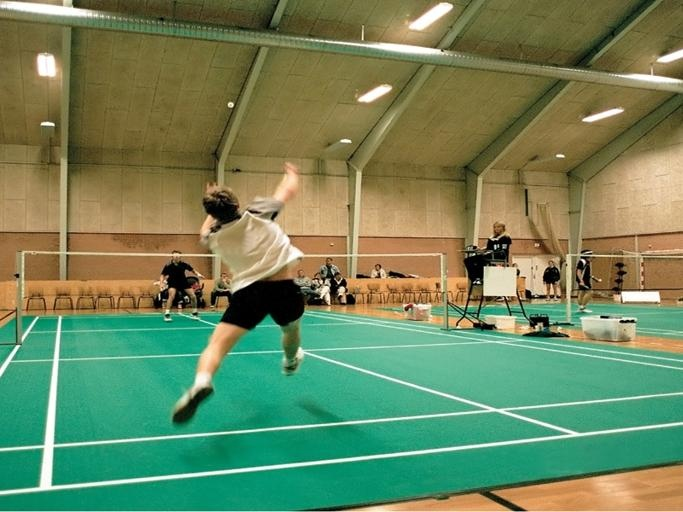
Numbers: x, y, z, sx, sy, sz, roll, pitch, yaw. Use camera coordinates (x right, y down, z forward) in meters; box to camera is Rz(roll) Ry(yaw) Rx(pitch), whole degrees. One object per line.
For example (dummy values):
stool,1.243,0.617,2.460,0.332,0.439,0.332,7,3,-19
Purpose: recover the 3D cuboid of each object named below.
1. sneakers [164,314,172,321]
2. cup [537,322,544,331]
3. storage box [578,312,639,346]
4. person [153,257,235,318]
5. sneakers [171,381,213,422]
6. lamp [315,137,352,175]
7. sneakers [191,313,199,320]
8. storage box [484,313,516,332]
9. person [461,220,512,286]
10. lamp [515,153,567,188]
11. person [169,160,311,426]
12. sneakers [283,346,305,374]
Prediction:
sneakers,-3.800,1.348,11.596,0.151,0.174,0.403,0,-12,-20
cup,3.234,1.149,8.690,0.092,0.112,0.119,-2,-3,20
storage box,4.064,1.103,8.241,0.462,0.237,0.583,2,-3,-28
person,-4.065,0.904,14.331,1.487,2.229,1.189,-1,-19,-32
sneakers,-0.877,0.856,3.158,0.164,0.254,0.091,45,-11,-12
lamp,-0.388,-3.883,20.460,0.507,1.020,1.469,-11,-43,-19
sneakers,-3.331,1.367,12.102,0.127,0.149,0.359,4,3,-12
storage box,2.928,1.222,9.833,0.311,0.187,0.403,3,-5,-20
person,2.559,-0.013,9.452,0.821,1.175,0.593,-3,2,-5
lamp,8.968,-3.836,23.916,1.669,0.368,1.446,4,-21,-15
person,-0.660,0.134,3.740,0.578,1.796,1.385,-2,-4,28
sneakers,-0.391,0.874,4.456,0.107,0.125,0.303,3,13,9
